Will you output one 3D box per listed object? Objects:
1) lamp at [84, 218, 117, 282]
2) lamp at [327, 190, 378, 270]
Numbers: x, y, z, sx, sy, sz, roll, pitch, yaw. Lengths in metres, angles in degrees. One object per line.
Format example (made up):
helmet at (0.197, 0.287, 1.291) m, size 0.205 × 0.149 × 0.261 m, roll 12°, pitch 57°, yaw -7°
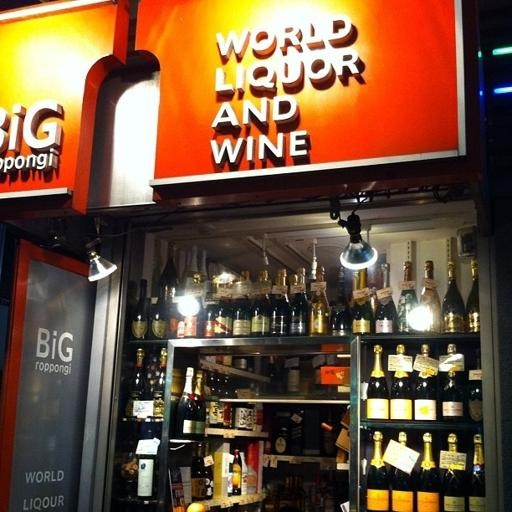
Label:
lamp at (-0.883, -0.004, 3.482) m, size 0.121 × 0.296 × 0.151 m, roll -24°, pitch 5°, yaw -13°
lamp at (0.465, -0.097, 3.001) m, size 0.187 × 0.364 × 0.178 m, roll -3°, pitch -11°, yaw -14°
